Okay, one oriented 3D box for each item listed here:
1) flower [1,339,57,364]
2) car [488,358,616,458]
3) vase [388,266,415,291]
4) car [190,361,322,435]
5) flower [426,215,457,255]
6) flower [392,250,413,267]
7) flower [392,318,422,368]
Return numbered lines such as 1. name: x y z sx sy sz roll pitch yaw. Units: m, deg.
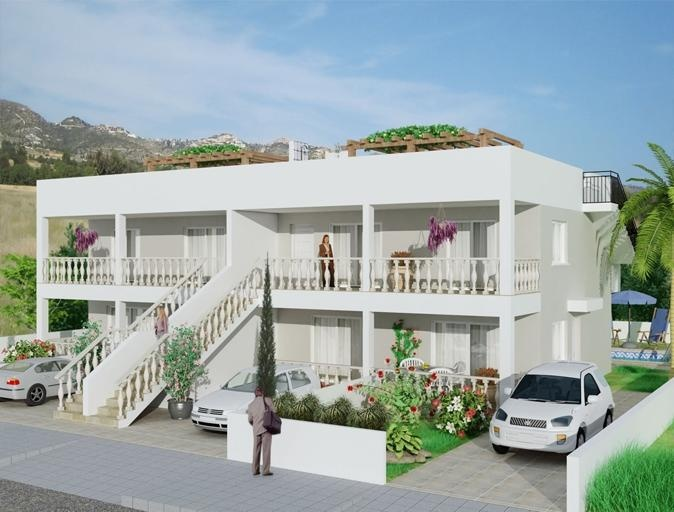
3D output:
1. flower: -11.388 3.392 28.337 1.222 0.813 1.338 -3 9 18
2. car: 5.605 4.065 20.133 3.541 1.865 2.006 -13 17 -39
3. vase: 2.072 0.717 25.168 0.777 0.909 0.782 0 -7 -1
4. car: -2.403 4.026 22.190 3.506 1.357 1.755 -14 17 -40
5. flower: 3.171 -0.628 24.238 1.038 1.225 0.535 -14 17 -43
6. flower: 2.074 0.040 25.373 0.486 0.410 0.529 -1 -8 8
7. flower: 2.364 2.942 26.258 1.237 2.202 0.708 1 -12 1
